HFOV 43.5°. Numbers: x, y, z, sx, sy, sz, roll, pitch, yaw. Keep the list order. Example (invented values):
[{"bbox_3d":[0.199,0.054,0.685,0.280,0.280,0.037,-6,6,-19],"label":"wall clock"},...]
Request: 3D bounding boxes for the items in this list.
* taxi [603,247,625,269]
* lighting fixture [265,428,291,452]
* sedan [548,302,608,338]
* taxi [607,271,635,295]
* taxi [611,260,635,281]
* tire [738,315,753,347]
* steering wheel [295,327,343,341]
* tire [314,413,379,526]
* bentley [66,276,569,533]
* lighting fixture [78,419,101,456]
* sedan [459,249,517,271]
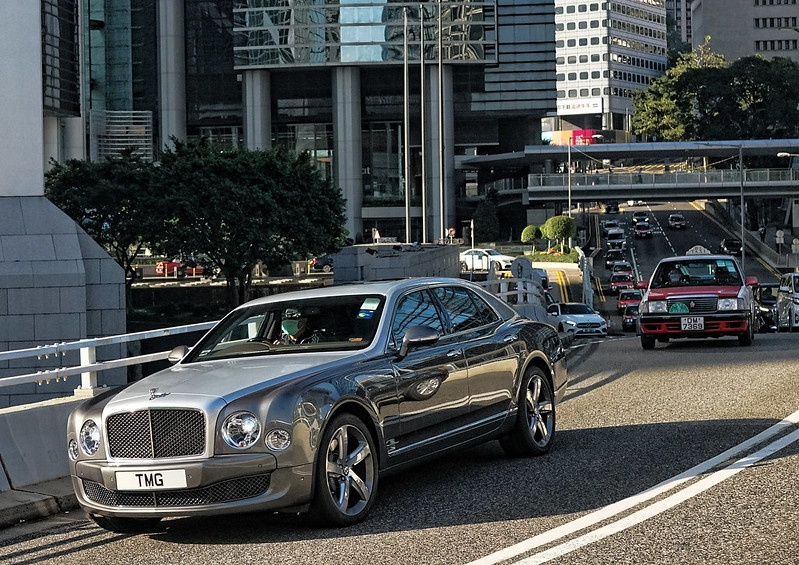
[{"bbox_3d":[15.750,-1.776,72.807,1.207,1.121,2.577,-2,-3,8],"label":"taxi"},{"bbox_3d":[-1.024,1.339,8.465,0.211,0.164,0.026,0,4,-12],"label":"lighting fixture"},{"bbox_3d":[6.484,1.344,36.319,1.021,0.826,2.451,2,-3,-4],"label":"sedan"},{"bbox_3d":[13.064,-0.065,58.412,0.953,0.859,2.018,-2,-4,6],"label":"taxi"},{"bbox_3d":[13.700,-0.811,61.009,0.944,0.906,2.008,-1,-7,8],"label":"taxi"},{"bbox_3d":[7.202,1.005,20.777,0.212,0.681,0.668,0,2,12],"label":"tire"},{"bbox_3d":[-0.797,0.529,9.822,0.277,0.115,0.206,-3,-1,18],"label":"steering wheel"},{"bbox_3d":[-0.543,1.703,8.980,0.283,0.992,0.975,-9,-8,29],"label":"tire"},{"bbox_3d":[-0.491,1.124,11.146,2.896,2.103,6.434,-8,-2,33],"label":"bentley"},{"bbox_3d":[-2.739,1.374,8.852,0.234,0.308,0.072,-17,-9,39],"label":"lighting fixture"},{"bbox_3d":[6.064,-1.932,70.690,4.215,1.339,1.963,-4,-2,39],"label":"sedan"}]
